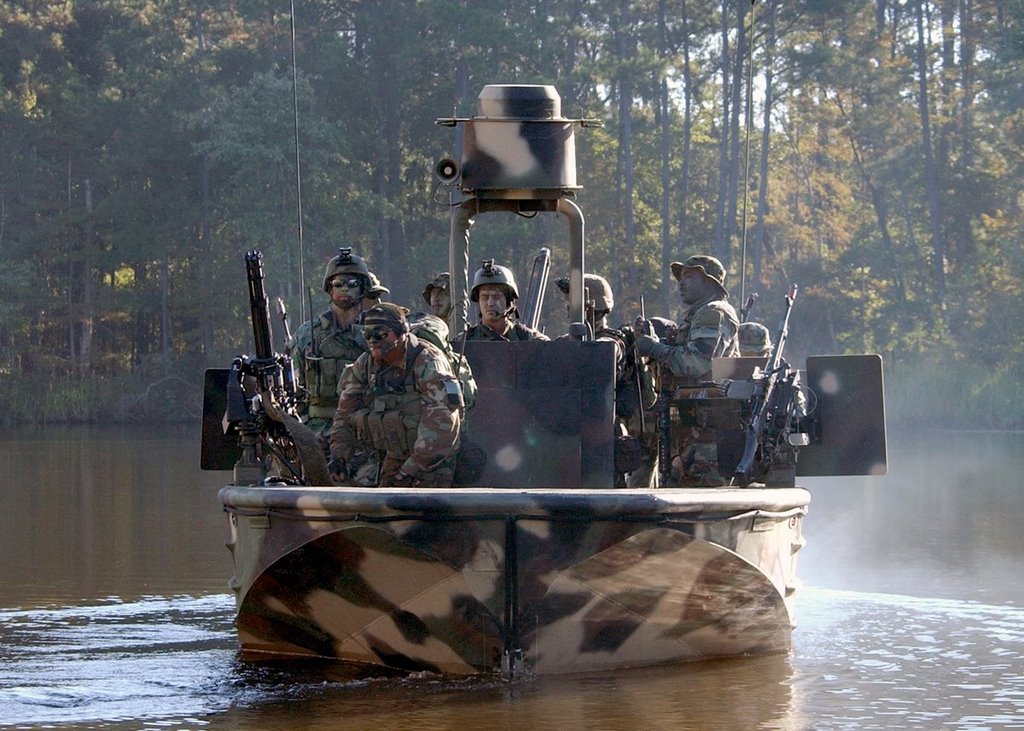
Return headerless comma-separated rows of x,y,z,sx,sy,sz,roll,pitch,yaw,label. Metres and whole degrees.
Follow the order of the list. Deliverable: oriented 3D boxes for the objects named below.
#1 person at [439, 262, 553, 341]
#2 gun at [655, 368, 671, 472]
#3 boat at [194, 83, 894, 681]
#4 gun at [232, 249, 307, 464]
-0.237,-0.970,37.946,1.158,0.801,1.407,-2,-27,5,person
2.534,1.208,38.142,0.262,1.775,0.250,-2,-3,41,gun
0.126,0.147,36.469,9.994,8.875,4.695,-1,10,-8,boat
-3.855,-0.108,35.858,1.053,3.278,0.964,-1,9,1,gun
